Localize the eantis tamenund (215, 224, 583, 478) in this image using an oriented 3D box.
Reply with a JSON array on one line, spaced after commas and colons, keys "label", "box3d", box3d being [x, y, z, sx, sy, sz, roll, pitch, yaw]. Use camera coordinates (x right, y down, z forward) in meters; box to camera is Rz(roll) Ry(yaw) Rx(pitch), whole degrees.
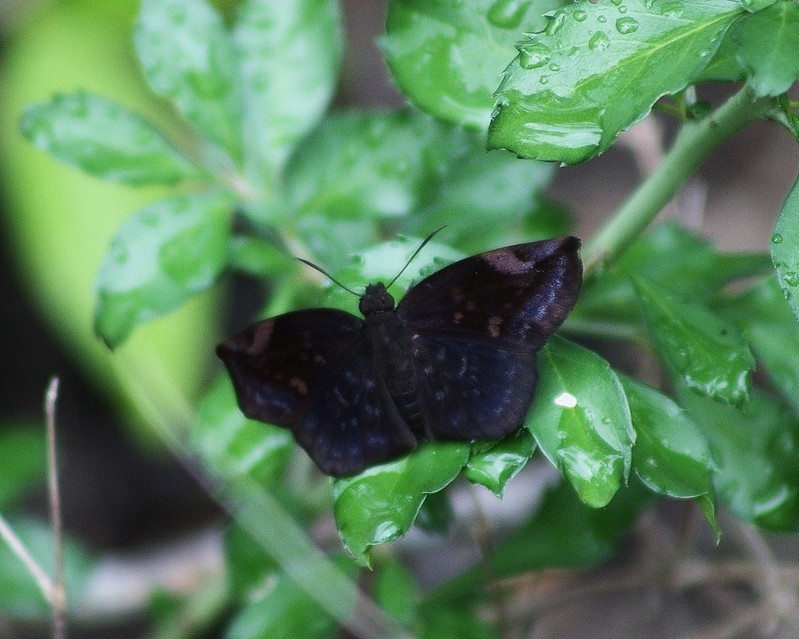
[{"label": "eantis tamenund", "box3d": [0.005, 0.030, 0.698, 0.318, 0.127, 0.185, -10, 51, 3]}]
